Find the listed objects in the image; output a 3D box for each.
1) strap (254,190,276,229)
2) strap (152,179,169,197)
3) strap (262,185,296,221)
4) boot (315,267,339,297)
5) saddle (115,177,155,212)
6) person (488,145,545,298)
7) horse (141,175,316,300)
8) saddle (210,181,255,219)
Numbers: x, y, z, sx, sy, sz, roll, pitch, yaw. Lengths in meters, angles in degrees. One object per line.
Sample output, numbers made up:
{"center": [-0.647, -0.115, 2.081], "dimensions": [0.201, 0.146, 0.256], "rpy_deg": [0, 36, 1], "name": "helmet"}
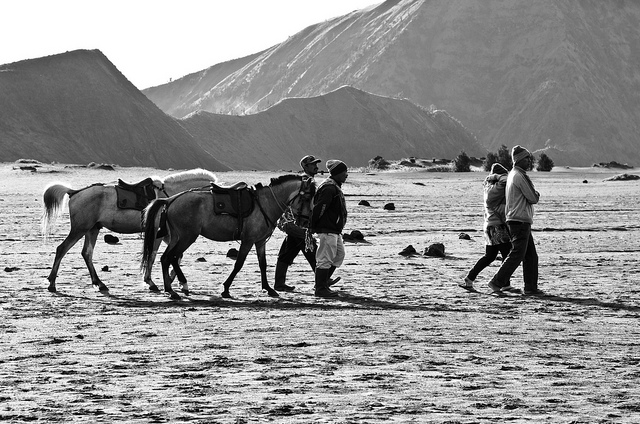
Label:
{"center": [-1.081, -0.060, 18.538], "dimensions": [0.244, 0.800, 0.086], "rpy_deg": [-22, -12, -23], "name": "strap"}
{"center": [-3.209, -0.488, 19.795], "dimensions": [0.075, 0.287, 0.211], "rpy_deg": [-42, 30, -24], "name": "strap"}
{"center": [-0.746, -0.064, 18.743], "dimensions": [0.125, 1.128, 0.171], "rpy_deg": [-29, 6, 11], "name": "strap"}
{"center": [0.189, 1.296, 18.090], "dimensions": [0.578, 0.629, 0.310], "rpy_deg": [-1, 0, -10], "name": "boot"}
{"center": [-3.694, -0.392, 19.352], "dimensions": [0.770, 0.549, 0.533], "rpy_deg": [3, 0, -35], "name": "saddle"}
{"center": [3.718, 0.148, 18.234], "dimensions": [0.921, 2.721, 0.424], "rpy_deg": [1, 2, 9], "name": "person"}
{"center": [-1.567, 0.396, 18.370], "dimensions": [2.772, 2.234, 0.873], "rpy_deg": [1, 2, -10], "name": "horse"}
{"center": [-1.653, -0.241, 18.435], "dimensions": [0.835, 0.635, 0.334], "rpy_deg": [1, 2, -7], "name": "saddle"}
